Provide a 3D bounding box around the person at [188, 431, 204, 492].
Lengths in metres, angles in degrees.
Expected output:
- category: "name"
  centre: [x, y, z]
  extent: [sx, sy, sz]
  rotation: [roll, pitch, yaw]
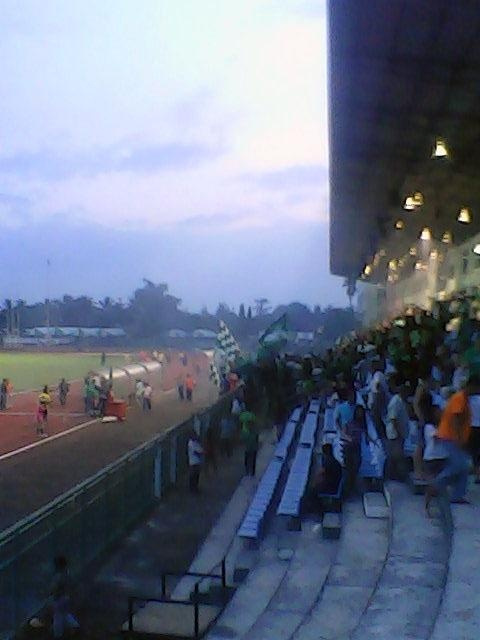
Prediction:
- category: "person"
  centre: [-1.076, 3.445, 12.927]
  extent: [0.348, 1.500, 1.714]
  rotation: [-2, 0, -6]
